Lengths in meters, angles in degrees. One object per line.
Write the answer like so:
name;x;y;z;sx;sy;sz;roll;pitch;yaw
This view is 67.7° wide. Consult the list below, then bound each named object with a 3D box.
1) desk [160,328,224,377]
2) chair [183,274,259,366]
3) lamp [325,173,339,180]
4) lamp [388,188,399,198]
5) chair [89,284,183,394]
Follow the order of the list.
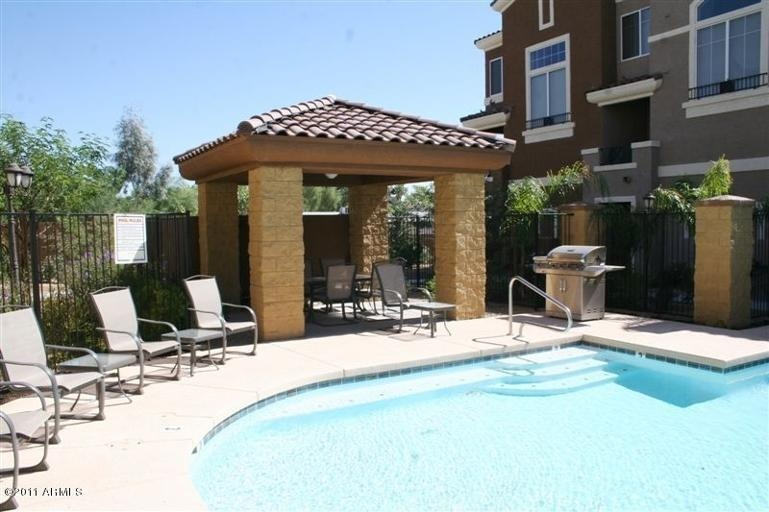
desk;-3.381;1.650;10.070;0.715;0.507;0.711;-23;9;-22
chair;-3.100;1.201;10.901;1.152;1.483;0.973;6;6;32
lamp;-1.441;-2.147;15.605;0.385;0.280;0.393;-1;0;-7
lamp;0.998;-6.727;61.634;1.011;0.708;1.072;0;2;32
chair;-4.144;1.342;9.562;1.112;1.550;1.014;2;3;18
